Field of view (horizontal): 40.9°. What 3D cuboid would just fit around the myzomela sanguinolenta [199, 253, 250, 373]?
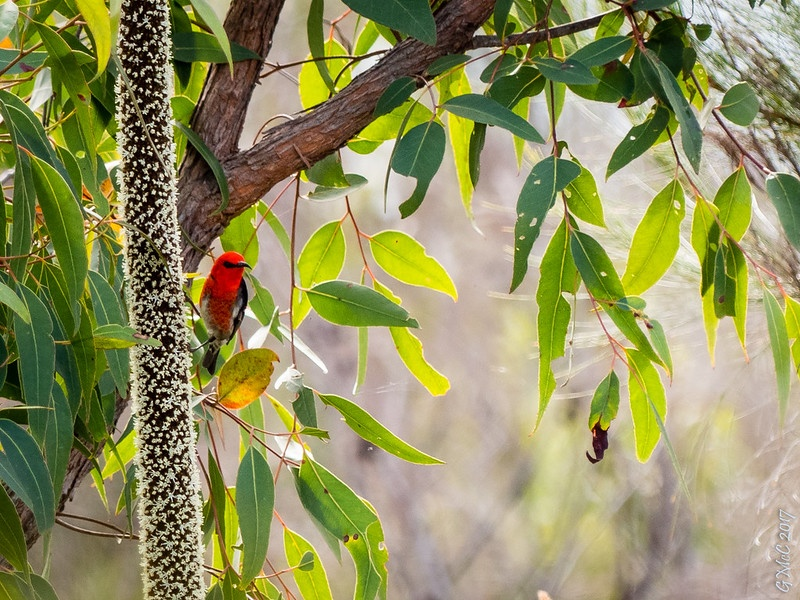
[{"bbox_3d":[-0.304,0.024,1.852,0.084,0.202,0.148,-1,0,-8],"label":"myzomela sanguinolenta"}]
